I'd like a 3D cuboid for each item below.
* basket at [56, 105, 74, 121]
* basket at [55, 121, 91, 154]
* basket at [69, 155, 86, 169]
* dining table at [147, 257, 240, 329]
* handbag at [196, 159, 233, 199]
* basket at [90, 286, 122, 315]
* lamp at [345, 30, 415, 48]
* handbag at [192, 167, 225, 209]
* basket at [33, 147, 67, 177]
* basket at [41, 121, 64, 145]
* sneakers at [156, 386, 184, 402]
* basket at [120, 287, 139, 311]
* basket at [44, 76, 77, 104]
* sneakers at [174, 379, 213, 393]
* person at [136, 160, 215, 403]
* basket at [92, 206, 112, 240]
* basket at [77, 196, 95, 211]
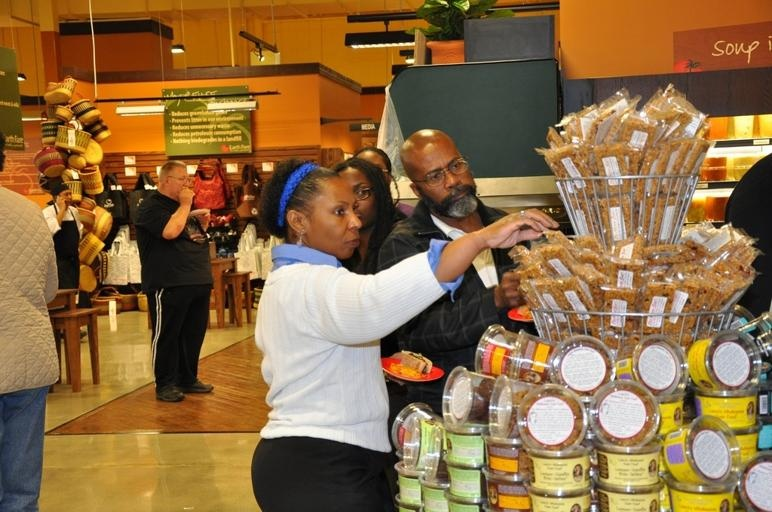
[{"bbox_3d":[-4.888,-2.186,9.873,0.227,0.136,0.220,-1,7,-9],"label":"basket"},{"bbox_3d":[-4.782,-1.806,9.818,0.440,0.400,0.329,16,-3,29],"label":"basket"},{"bbox_3d":[-4.805,-1.465,10.064,0.229,0.167,0.171,15,2,13],"label":"basket"},{"bbox_3d":[-2.808,0.516,9.836,1.090,1.336,1.064,2,10,20],"label":"dining table"},{"bbox_3d":[-3.237,-1.436,12.360,0.704,0.790,0.380,3,5,7],"label":"handbag"},{"bbox_3d":[-4.679,0.757,10.768,0.560,0.496,0.544,1,-1,-16],"label":"basket"},{"bbox_3d":[-0.125,-4.154,12.312,1.077,0.354,1.031,2,7,16],"label":"lamp"},{"bbox_3d":[-3.258,-1.182,11.912,0.777,0.915,0.334,-3,-6,-4],"label":"handbag"},{"bbox_3d":[-5.019,-1.439,9.705,0.478,0.466,0.326,10,37,-42],"label":"basket"},{"bbox_3d":[-5.112,-1.896,9.834,0.374,0.273,0.339,2,-3,-42],"label":"basket"},{"bbox_3d":[-2.025,1.292,6.064,0.242,0.094,0.122,-2,0,29],"label":"sneakers"},{"bbox_3d":[-4.634,0.774,11.624,0.438,0.408,0.423,0,-4,1],"label":"basket"},{"bbox_3d":[-4.980,-2.546,9.901,0.408,0.432,0.476,-3,7,-27],"label":"basket"},{"bbox_3d":[-1.872,1.273,6.323,0.347,0.145,0.122,-1,-9,-3],"label":"sneakers"},{"bbox_3d":[-1.933,0.248,5.975,0.630,2.226,0.505,-5,8,-35],"label":"person"},{"bbox_3d":[-4.699,-0.581,10.785,0.176,0.396,0.475,15,39,8],"label":"basket"},{"bbox_3d":[-4.859,-0.857,10.516,0.210,0.210,0.152,38,25,-33],"label":"basket"}]
